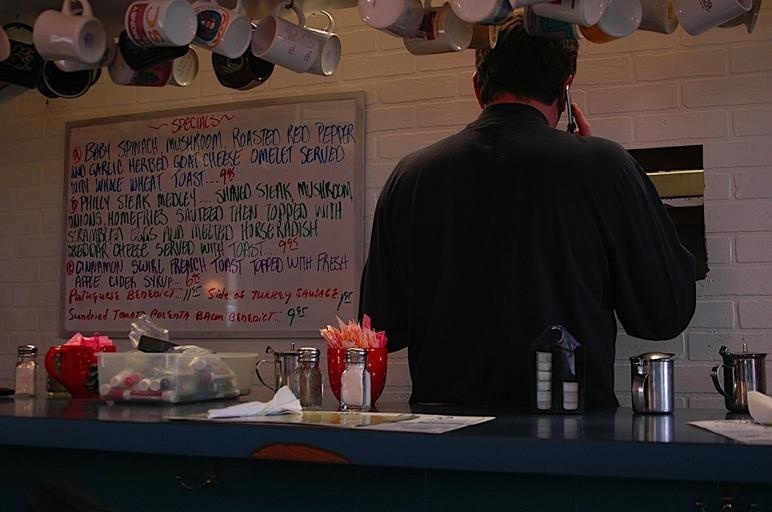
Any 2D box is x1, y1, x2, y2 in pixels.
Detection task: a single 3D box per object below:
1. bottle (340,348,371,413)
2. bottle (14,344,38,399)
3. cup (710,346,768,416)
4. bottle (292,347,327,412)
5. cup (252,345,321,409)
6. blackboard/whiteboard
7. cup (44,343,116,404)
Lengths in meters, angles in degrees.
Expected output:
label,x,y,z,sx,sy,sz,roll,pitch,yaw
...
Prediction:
label,x,y,z,sx,sy,sz,roll,pitch,yaw
bottle,-0.081,0.333,2.488,0.084,0.166,0.087,0,-5,0
bottle,-1.150,0.363,2.904,0.064,0.155,0.128,2,-5,-24
cup,1.024,0.364,2.640,0.223,0.234,0.140,3,-4,-32
bottle,-0.216,0.341,2.548,0.058,0.157,0.099,2,1,13
cup,-0.259,0.330,2.625,0.171,0.231,0.192,0,1,-36
blackboard/whiteboard,-0.745,-0.150,3.731,1.324,0.937,0.012,-2,-3,15
cup,-0.964,0.340,2.865,0.163,0.198,0.135,2,4,24
